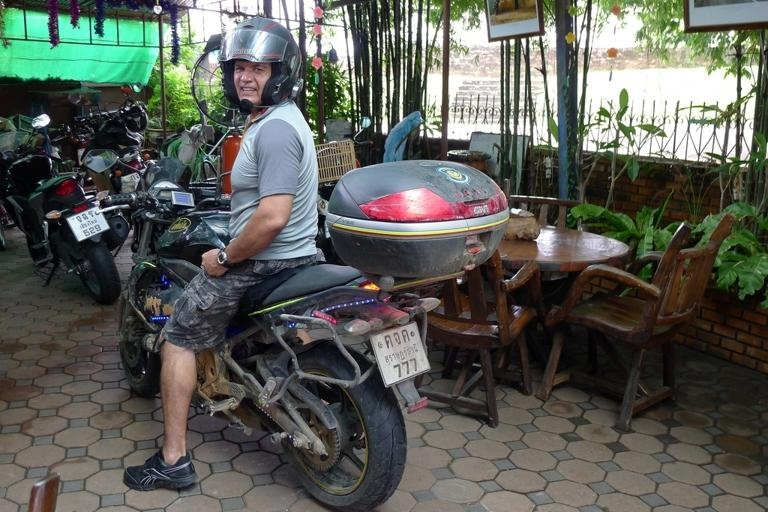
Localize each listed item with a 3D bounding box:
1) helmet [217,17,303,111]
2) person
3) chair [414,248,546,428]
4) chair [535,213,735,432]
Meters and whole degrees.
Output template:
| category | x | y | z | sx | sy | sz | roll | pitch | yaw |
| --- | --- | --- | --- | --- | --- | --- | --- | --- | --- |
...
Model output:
| category | x | y | z | sx | sy | sz | roll | pitch | yaw |
| --- | --- | --- | --- | --- | --- | --- | --- | --- | --- |
| helmet | -0.533 | -0.993 | 2.559 | 0.416 | 0.461 | 0.488 | 13 | 31 | 22 |
| person | -0.805 | 0.031 | 2.594 | 0.953 | 2.380 | 0.520 | -3 | 18 | -7 |
| chair | 0.481 | 0.447 | 3.474 | 0.800 | 1.159 | 0.764 | -1 | -7 | 9 |
| chair | 1.776 | 0.424 | 3.661 | 1.007 | 1.294 | 0.950 | 6 | 9 | 44 |
